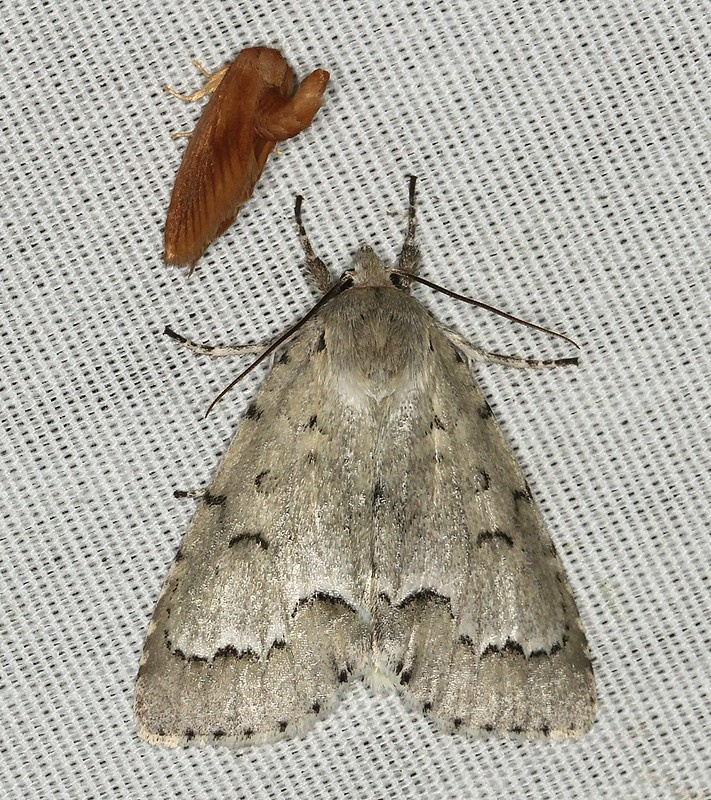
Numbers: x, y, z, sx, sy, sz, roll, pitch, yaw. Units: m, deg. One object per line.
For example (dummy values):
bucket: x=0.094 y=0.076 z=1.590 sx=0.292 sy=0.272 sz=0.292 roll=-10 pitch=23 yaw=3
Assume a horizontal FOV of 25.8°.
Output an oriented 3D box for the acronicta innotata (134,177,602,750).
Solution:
acronicta innotata: x=0.004 y=0.103 z=2.779 sx=0.658 sy=0.250 sz=1.003 roll=-2 pitch=94 yaw=2

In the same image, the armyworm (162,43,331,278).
armyworm: x=-0.263 y=-0.507 z=2.906 sx=0.389 sy=0.336 sz=0.487 roll=-1 pitch=43 yaw=-14
